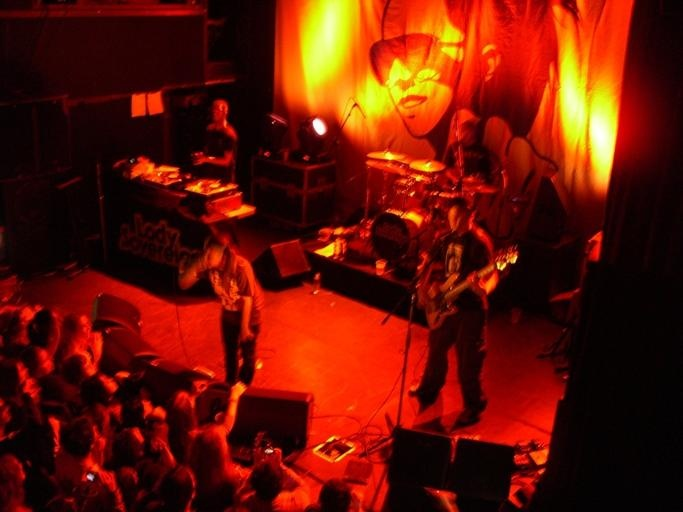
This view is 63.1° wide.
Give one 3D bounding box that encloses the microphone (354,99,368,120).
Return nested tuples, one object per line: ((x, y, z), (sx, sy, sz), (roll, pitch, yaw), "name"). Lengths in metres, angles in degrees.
((0.316, -2.574, 9.778), (0.047, 0.332, 0.382), (-5, 13, -40), "microphone")

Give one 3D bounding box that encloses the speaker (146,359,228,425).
((-1.409, 1.178, 5.327), (0.818, 0.515, 0.415), (11, 4, 19), "speaker")

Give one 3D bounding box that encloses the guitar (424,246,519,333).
((1.189, 0.241, 4.457), (0.551, 0.157, 1.539), (-29, 0, 36), "guitar")

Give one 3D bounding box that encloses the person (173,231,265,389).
((-1.143, 0.711, 5.485), (0.843, 2.032, 0.810), (-3, 23, -15), "person")

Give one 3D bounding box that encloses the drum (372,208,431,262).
((0.841, -0.390, 8.075), (0.702, 0.749, 0.795), (7, 16, 23), "drum")

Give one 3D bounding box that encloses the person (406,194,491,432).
((1.180, 0.507, 5.595), (0.757, 2.292, 0.736), (8, 29, 21), "person")

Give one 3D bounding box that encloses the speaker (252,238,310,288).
((-0.868, 0.069, 8.166), (0.698, 0.646, 0.705), (28, 37, 36), "speaker")

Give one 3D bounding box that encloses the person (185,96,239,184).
((-2.052, -1.888, 8.877), (0.660, 1.301, 1.362), (0, 10, -16), "person")

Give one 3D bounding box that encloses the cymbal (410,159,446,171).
((1.228, -1.287, 7.959), (0.499, 0.181, 0.464), (7, 11, 20), "cymbal")
